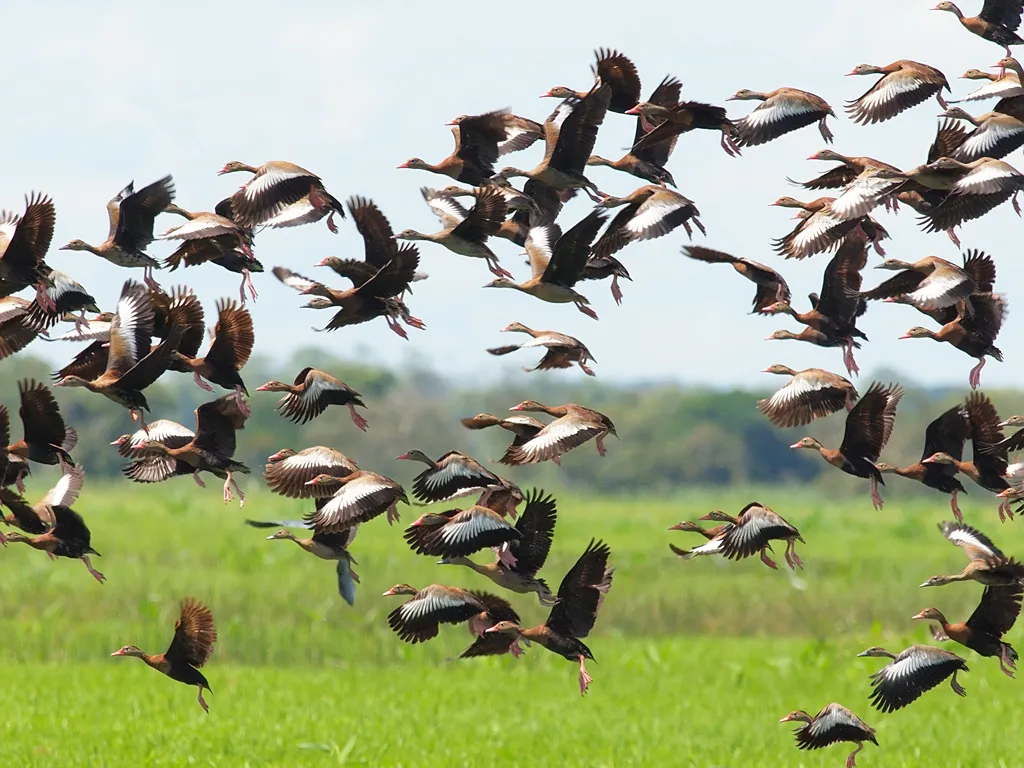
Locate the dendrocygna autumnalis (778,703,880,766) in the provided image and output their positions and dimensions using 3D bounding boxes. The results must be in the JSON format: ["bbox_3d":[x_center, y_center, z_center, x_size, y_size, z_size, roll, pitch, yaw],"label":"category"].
[{"bbox_3d":[2.980,3.409,20.209,0.563,0.340,0.775,-36,-13,22],"label":"dendrocygna autumnalis"}]

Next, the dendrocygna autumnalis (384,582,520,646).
[{"bbox_3d":[-0.581,2.004,18.526,0.682,0.315,0.800,-19,-14,27],"label":"dendrocygna autumnalis"}]

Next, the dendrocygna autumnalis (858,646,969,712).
[{"bbox_3d":[3.542,2.582,18.722,0.649,0.380,0.925,-28,-1,20],"label":"dendrocygna autumnalis"}]
